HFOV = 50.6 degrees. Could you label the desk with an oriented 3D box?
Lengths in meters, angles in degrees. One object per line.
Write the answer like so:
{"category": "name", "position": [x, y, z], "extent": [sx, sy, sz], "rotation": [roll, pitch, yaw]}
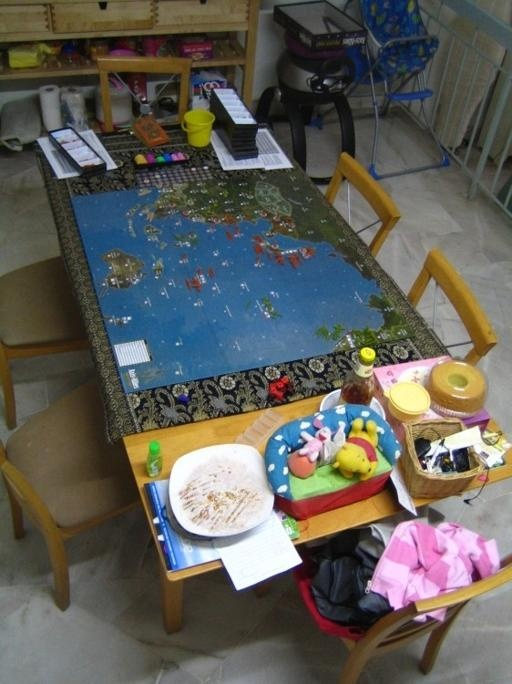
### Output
{"category": "desk", "position": [0.066, 0.423, 2.168], "extent": [1.287, 0.720, 1.811], "rotation": [-16, 60, -17]}

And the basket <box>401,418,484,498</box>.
{"category": "basket", "position": [0.392, 0.240, 1.234], "extent": [0.157, 0.133, 0.188], "rotation": [-1, 55, -8]}

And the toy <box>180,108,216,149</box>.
{"category": "toy", "position": [-0.225, -0.854, 2.123], "extent": [0.134, 0.126, 0.149], "rotation": [-2, 60, -6]}

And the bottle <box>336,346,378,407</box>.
{"category": "bottle", "position": [0.242, 0.078, 1.223], "extent": [0.078, 0.195, 0.068], "rotation": [14, 41, 9]}

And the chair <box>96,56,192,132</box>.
{"category": "chair", "position": [-0.500, -1.111, 2.395], "extent": [0.256, 0.273, 0.546], "rotation": [34, 47, 29]}

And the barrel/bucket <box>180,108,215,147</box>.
{"category": "barrel/bucket", "position": [-0.234, -0.866, 2.150], "extent": [0.128, 0.117, 0.142], "rotation": [-1, 61, -6]}

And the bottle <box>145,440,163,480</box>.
{"category": "bottle", "position": [-0.214, 0.230, 1.135], "extent": [0.035, 0.116, 0.062], "rotation": [-2, 41, -10]}

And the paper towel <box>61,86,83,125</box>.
{"category": "paper towel", "position": [-1.043, -1.345, 3.078], "extent": [0.120, 0.202, 0.114], "rotation": [-10, 82, -17]}
